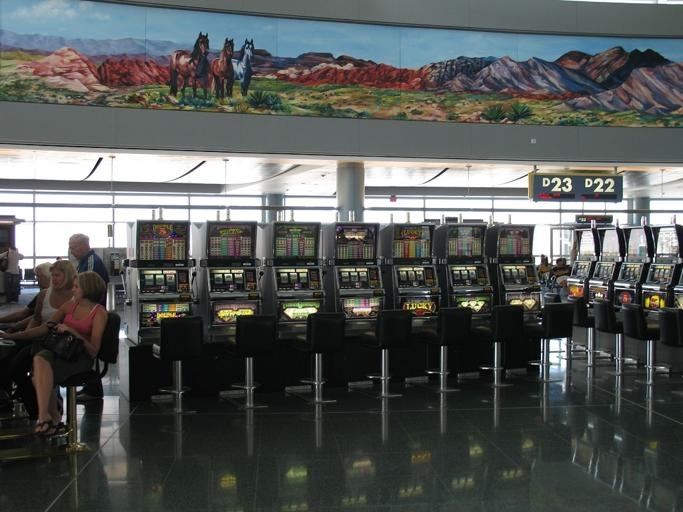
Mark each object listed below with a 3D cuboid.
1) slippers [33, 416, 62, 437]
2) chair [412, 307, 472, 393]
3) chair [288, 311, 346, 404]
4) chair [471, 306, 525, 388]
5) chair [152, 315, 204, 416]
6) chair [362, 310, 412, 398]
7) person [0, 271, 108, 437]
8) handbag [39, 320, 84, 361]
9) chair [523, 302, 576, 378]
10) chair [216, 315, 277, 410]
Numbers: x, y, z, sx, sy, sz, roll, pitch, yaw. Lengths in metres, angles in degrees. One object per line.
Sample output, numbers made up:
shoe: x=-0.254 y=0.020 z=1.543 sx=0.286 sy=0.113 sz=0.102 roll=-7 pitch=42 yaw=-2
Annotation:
slippers: x=-2.888 y=1.704 z=6.812 sx=0.178 sy=0.126 sz=0.410 roll=0 pitch=-4 yaw=-6
chair: x=1.362 y=1.193 z=9.177 sx=0.707 sy=1.169 sz=0.964 roll=1 pitch=8 yaw=6
chair: x=-0.303 y=1.239 z=8.615 sx=0.607 sy=1.147 sz=0.740 roll=-2 pitch=9 yaw=-16
chair: x=2.145 y=1.168 z=9.427 sx=0.686 sy=1.163 sz=1.103 roll=2 pitch=8 yaw=12
chair: x=-1.923 y=1.261 z=8.183 sx=0.495 sy=1.151 sz=0.628 roll=-3 pitch=9 yaw=-23
chair: x=0.607 y=1.212 z=8.890 sx=0.591 sy=1.180 sz=0.923 roll=-1 pitch=8 yaw=-7
person: x=-2.772 y=1.002 z=7.011 sx=0.843 sy=1.622 sz=0.783 roll=-5 pitch=10 yaw=-35
handbag: x=-2.730 y=0.849 z=6.776 sx=0.364 sy=0.294 sz=0.157 roll=10 pitch=-11 yaw=25
chair: x=2.880 y=1.145 z=9.617 sx=0.613 sy=1.117 sz=0.919 roll=3 pitch=9 yaw=16
chair: x=-1.124 y=1.249 z=8.433 sx=0.476 sy=1.145 sz=0.689 roll=-4 pitch=10 yaw=-30
